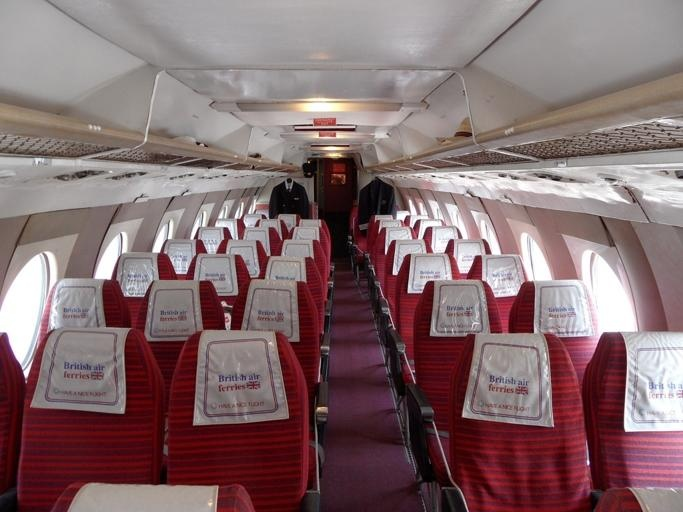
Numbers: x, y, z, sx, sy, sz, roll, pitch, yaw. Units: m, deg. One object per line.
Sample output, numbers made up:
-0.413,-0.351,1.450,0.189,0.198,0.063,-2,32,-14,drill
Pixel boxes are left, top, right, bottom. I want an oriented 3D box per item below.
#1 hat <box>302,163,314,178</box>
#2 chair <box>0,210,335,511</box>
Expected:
-1.081,-3.209,16.276,0.478,0.524,0.518,2,4,10,hat
-1.120,0.992,3.197,2.048,1.728,1.510,1,-3,-2,chair
